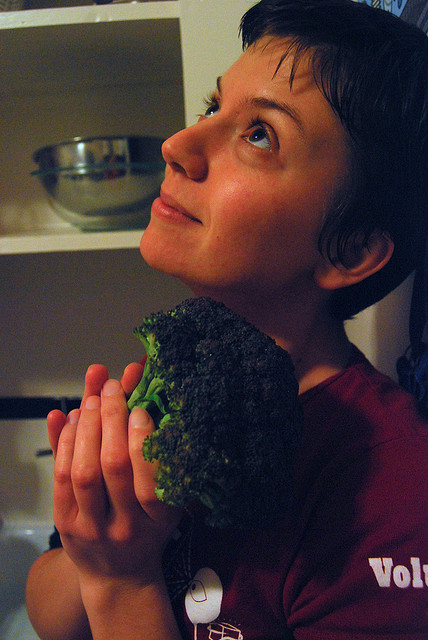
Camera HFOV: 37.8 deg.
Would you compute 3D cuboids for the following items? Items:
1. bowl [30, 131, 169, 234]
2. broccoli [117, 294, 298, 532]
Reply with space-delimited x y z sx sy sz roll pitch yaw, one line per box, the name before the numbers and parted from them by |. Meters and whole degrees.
bowl | -0.214 -0.253 1.210 0.248 0.144 0.256 -2 5 0
broccoli | 0.001 0.105 0.773 0.202 0.236 0.239 -3 46 18
